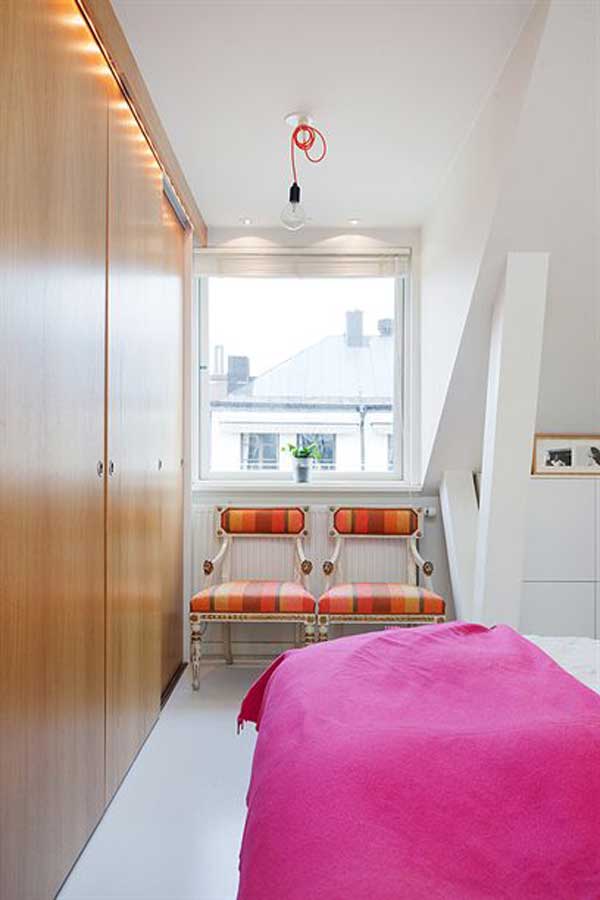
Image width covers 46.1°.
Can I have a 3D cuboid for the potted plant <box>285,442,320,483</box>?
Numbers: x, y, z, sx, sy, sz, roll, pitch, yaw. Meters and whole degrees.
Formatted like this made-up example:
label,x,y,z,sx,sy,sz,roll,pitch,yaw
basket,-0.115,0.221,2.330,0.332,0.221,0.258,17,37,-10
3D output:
label,x,y,z,sx,sy,sz,roll,pitch,yaw
potted plant,0.014,0.064,3.980,0.174,0.249,0.193,2,-9,-5
